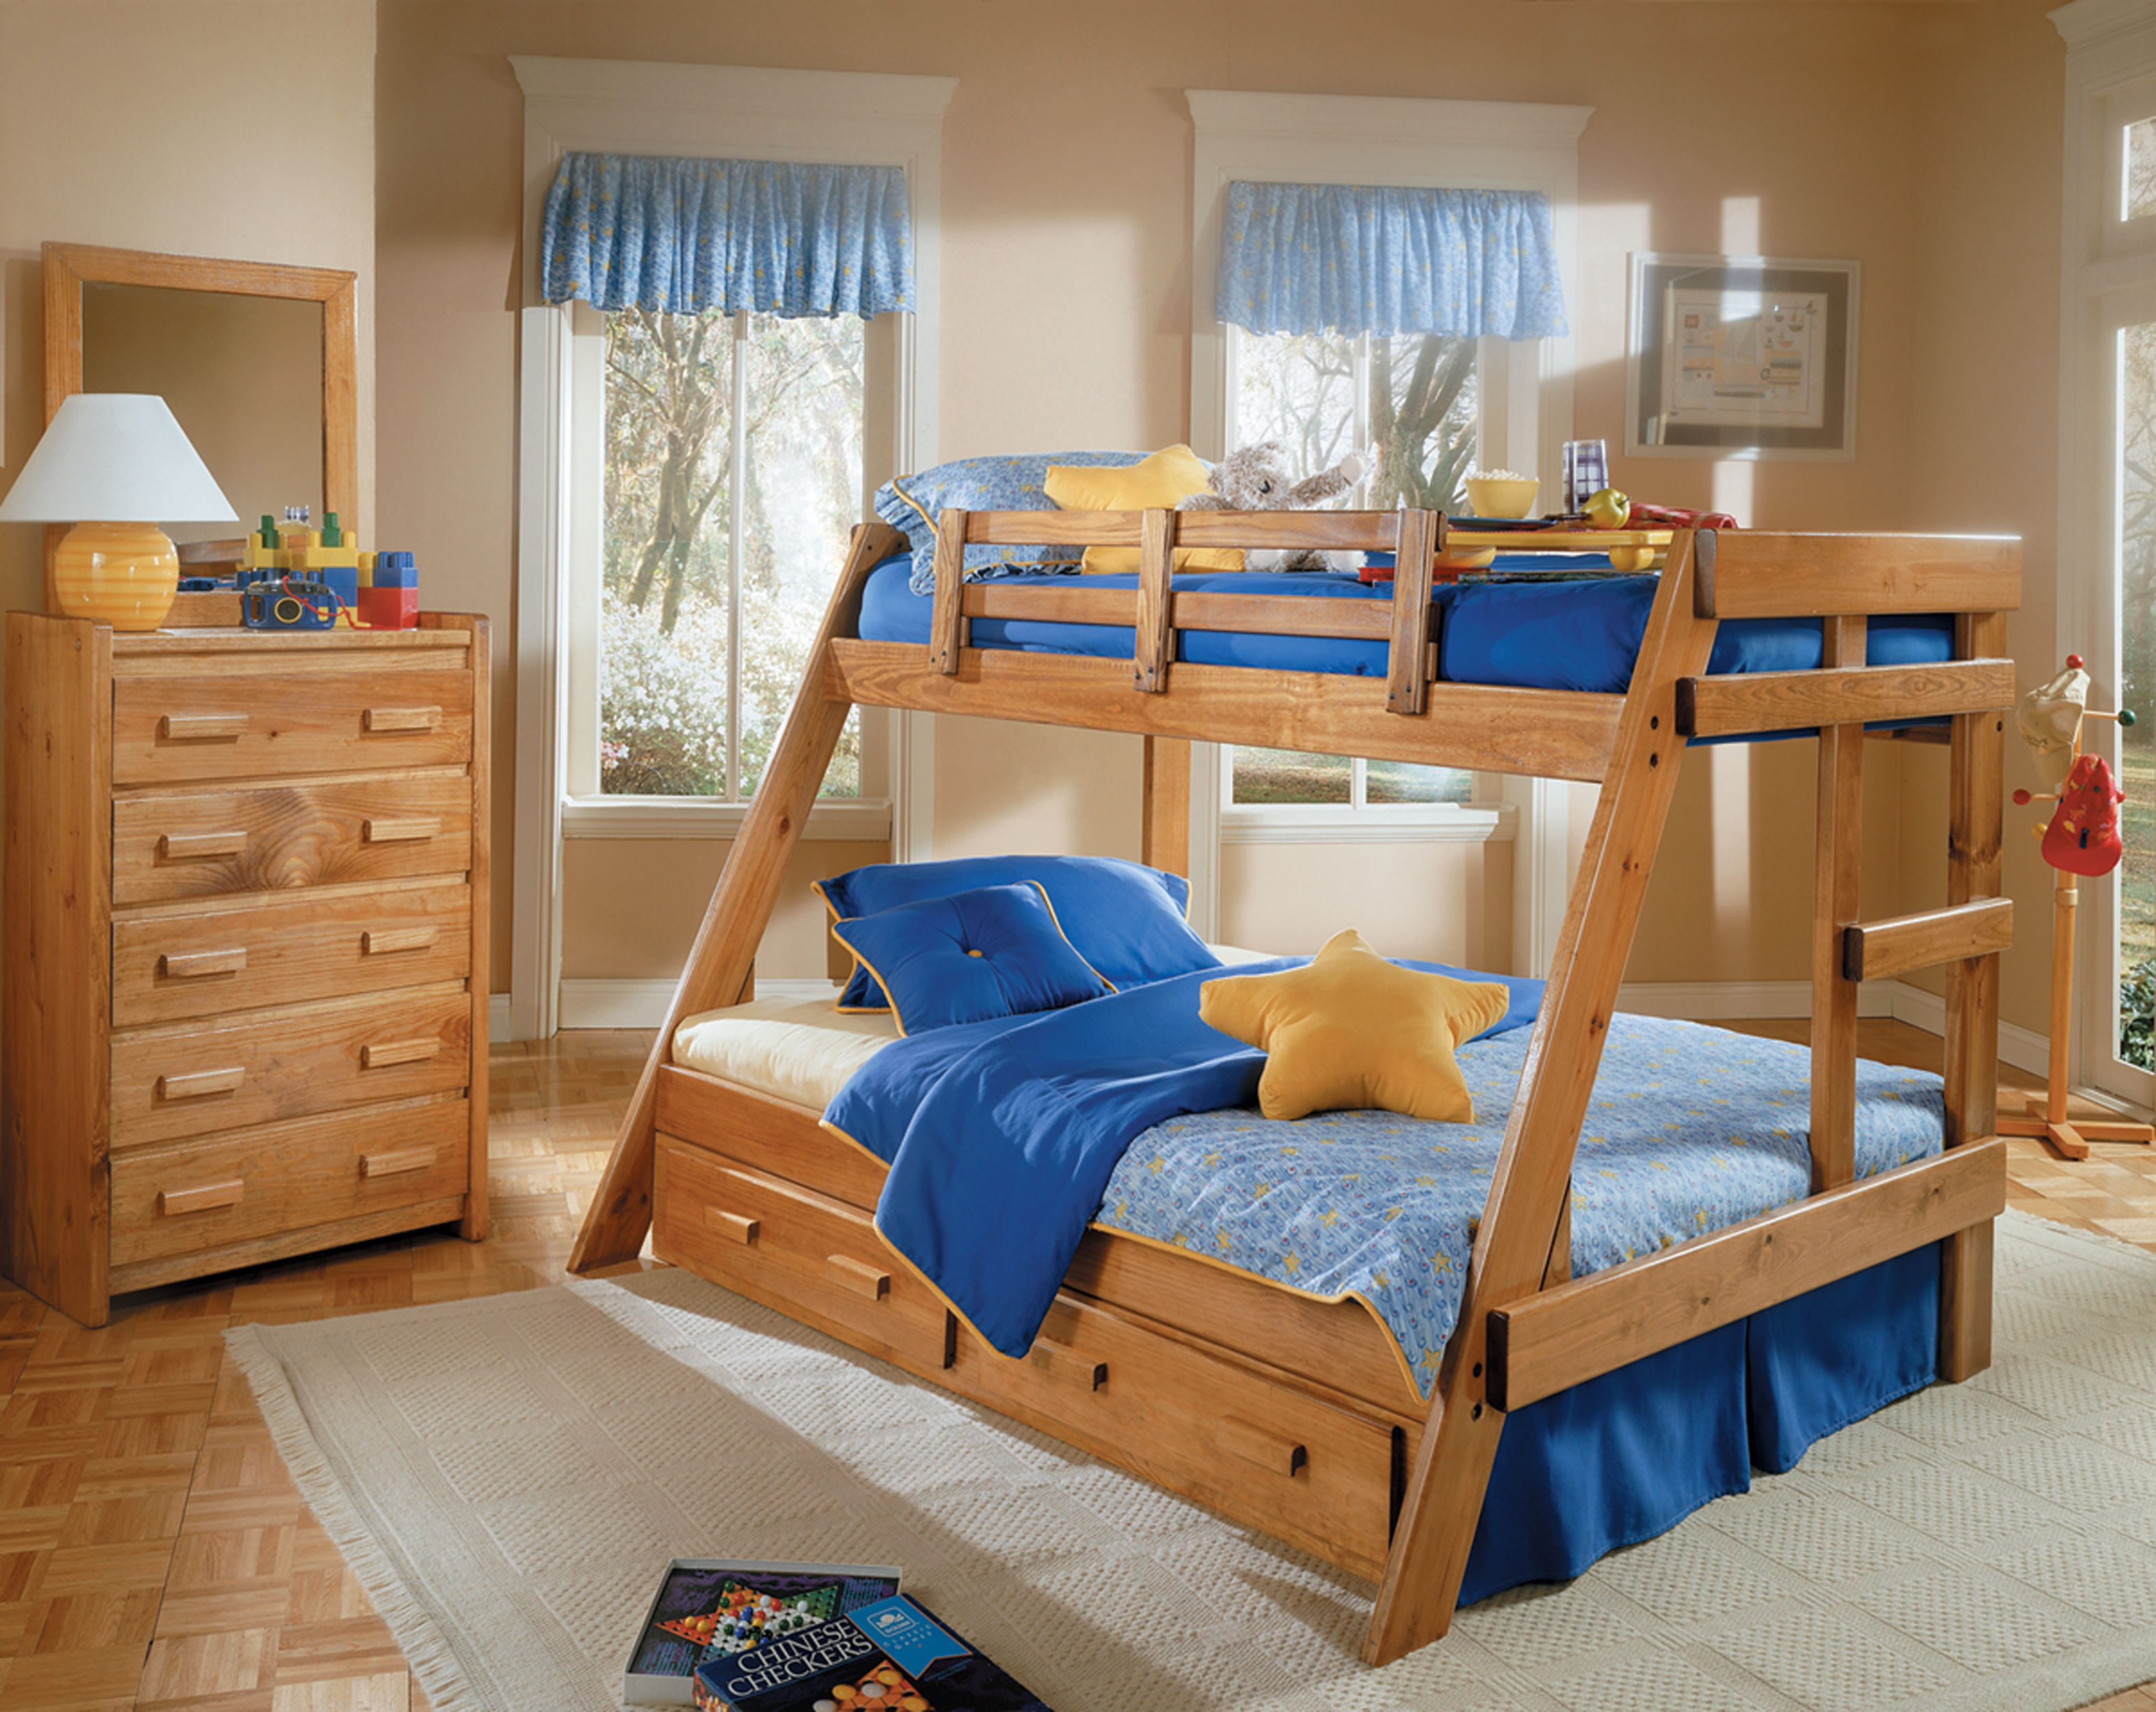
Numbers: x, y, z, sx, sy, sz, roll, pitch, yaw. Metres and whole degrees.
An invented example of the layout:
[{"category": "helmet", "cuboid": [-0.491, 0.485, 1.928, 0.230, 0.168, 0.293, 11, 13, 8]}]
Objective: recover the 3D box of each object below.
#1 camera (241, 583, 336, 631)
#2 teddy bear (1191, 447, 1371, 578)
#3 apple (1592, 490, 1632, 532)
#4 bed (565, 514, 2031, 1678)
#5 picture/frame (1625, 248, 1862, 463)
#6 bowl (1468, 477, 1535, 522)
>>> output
[{"category": "camera", "cuboid": [-1.731, -0.550, 4.100, 0.188, 0.089, 0.122, 0, 1, -21]}, {"category": "teddy bear", "cuboid": [0.414, -0.730, 3.730, 0.368, 0.310, 0.144, 9, -9, 32]}, {"category": "apple", "cuboid": [0.931, -0.605, 3.252, 0.075, 0.056, 0.068, -2, -1, 14]}, {"category": "bed", "cuboid": [0.349, 0.191, 3.799, 2.438, 1.403, 2.016, 5, 14, 42]}, {"category": "picture/frame", "cuboid": [2.078, -1.619, 5.920, 0.867, 0.581, 0.054, 0, 1, -6]}, {"category": "bowl", "cuboid": [0.788, -0.657, 3.420, 0.126, 0.069, 0.142, 0, 3, 7]}]
